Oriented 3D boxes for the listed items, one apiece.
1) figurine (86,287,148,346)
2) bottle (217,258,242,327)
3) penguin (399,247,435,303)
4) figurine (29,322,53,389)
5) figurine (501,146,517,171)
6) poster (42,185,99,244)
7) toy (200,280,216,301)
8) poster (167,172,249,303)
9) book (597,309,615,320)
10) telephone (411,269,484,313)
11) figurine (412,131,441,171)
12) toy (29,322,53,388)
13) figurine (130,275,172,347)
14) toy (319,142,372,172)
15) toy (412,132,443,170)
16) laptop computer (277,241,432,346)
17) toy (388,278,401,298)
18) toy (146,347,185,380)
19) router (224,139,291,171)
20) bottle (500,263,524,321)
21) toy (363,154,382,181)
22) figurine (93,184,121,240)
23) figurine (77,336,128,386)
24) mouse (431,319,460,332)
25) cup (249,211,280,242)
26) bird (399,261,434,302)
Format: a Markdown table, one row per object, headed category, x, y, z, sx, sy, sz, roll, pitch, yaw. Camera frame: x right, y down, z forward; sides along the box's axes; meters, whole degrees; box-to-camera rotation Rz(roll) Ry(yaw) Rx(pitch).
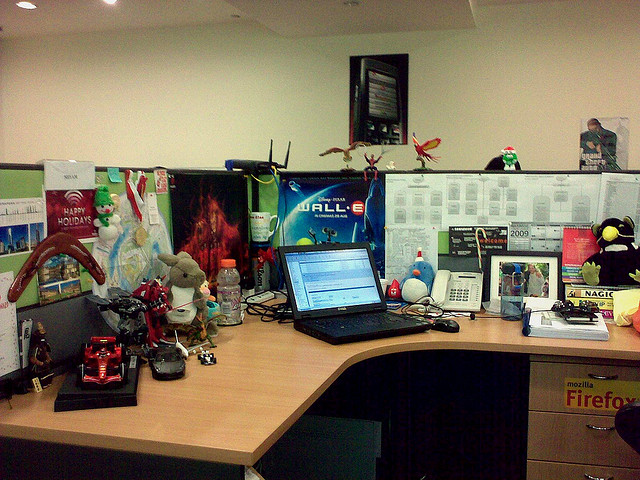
| category | x | y | z | sx | sy | sz | roll | pitch | yaw |
| --- | --- | --- | --- | --- | --- | --- | --- | --- | --- |
| figurine | -0.613 | 0.250 | 1.547 | 0.180 | 0.190 | 0.094 | 0 | -5 | 24 |
| bottle | -0.361 | 0.212 | 1.986 | 0.104 | 0.263 | 0.120 | 4 | 6 | 7 |
| penguin | 0.434 | 0.148 | 2.174 | 0.110 | 0.222 | 0.116 | 6 | 8 | 15 |
| figurine | -0.789 | 0.329 | 1.383 | 0.067 | 0.166 | 0.067 | 6 | 8 | -24 |
| figurine | 0.951 | -0.408 | 2.432 | 0.063 | 0.108 | 0.282 | 4 | 13 | 21 |
| poster | -0.760 | -0.084 | 1.504 | 0.210 | 0.190 | 0.019 | -1 | -1 | 14 |
| toy | -0.415 | 0.187 | 1.795 | 0.026 | 0.067 | 0.047 | -9 | -4 | 25 |
| poster | -0.474 | -0.012 | 2.011 | 0.028 | 0.596 | 0.581 | -1 | 1 | 24 |
| book | 1.168 | 0.304 | 1.973 | 0.052 | 0.030 | 0.047 | 5 | 14 | 25 |
| telephone | 0.592 | 0.230 | 2.126 | 0.202 | 0.084 | 0.210 | 4 | 40 | 17 |
| figurine | 0.522 | -0.429 | 2.385 | 0.144 | 0.173 | 0.237 | -2 | 9 | -18 |
| toy | -0.797 | 0.329 | 1.393 | 0.059 | 0.180 | 0.080 | -4 | -1 | 11 |
| figurine | -0.588 | 0.237 | 1.628 | 0.127 | 0.225 | 0.167 | 0 | -4 | -21 |
| toy | 0.130 | -0.393 | 2.318 | 0.242 | 0.140 | 0.102 | -10 | 21 | 3 |
| toy | 0.519 | -0.437 | 2.379 | 0.156 | 0.189 | 0.246 | -2 | 9 | -19 |
| laptop computer | 0.127 | 0.183 | 1.915 | 0.494 | 0.328 | 0.459 | -1 | 2 | -22 |
| toy | 0.337 | 0.224 | 2.244 | 0.068 | 0.099 | 0.068 | -2 | 1 | -37 |
| toy | -0.485 | 0.374 | 1.537 | 0.101 | 0.055 | 0.201 | 2 | 5 | -22 |
| router | -0.349 | -0.431 | 2.476 | 0.367 | 0.208 | 0.213 | 4 | 13 | 8 |
| bottle | 0.817 | 0.205 | 2.058 | 0.099 | 0.208 | 0.211 | 4 | 13 | 21 |
| toy | 0.252 | -0.366 | 2.403 | 0.068 | 0.114 | 0.265 | 0 | 13 | 6 |
| figurine | -0.692 | -0.087 | 1.582 | 0.041 | 0.157 | 0.084 | 5 | 8 | 5 |
| figurine | -0.605 | 0.337 | 1.419 | 0.118 | 0.122 | 0.171 | 2 | 6 | -15 |
| mouse | 0.481 | 0.326 | 1.857 | 0.046 | 0.027 | 0.078 | -3 | 2 | -42 |
| cup | -0.278 | -0.068 | 2.358 | 0.164 | 0.158 | 0.109 | 1 | 4 | -14 |
| bird | 0.451 | 0.189 | 2.215 | 0.157 | 0.216 | 0.156 | 12 | -5 | -8 |
